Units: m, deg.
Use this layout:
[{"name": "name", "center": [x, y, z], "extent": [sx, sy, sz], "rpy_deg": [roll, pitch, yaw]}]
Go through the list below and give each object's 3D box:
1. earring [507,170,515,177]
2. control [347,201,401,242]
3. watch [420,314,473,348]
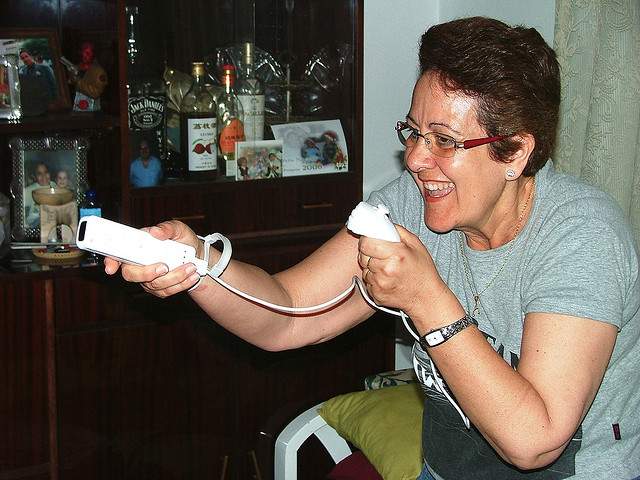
[{"name": "earring", "center": [0.371, -0.129, 1.110], "extent": [0.009, 0.013, 0.003], "rpy_deg": [2, 19, 11]}, {"name": "control", "center": [0.101, -0.030, 1.000], "extent": [0.092, 0.061, 0.089], "rpy_deg": [8, 15, 40]}, {"name": "watch", "center": [0.212, 0.158, 0.964], "extent": [0.086, 0.053, 0.033], "rpy_deg": [0, 11, 12]}]
